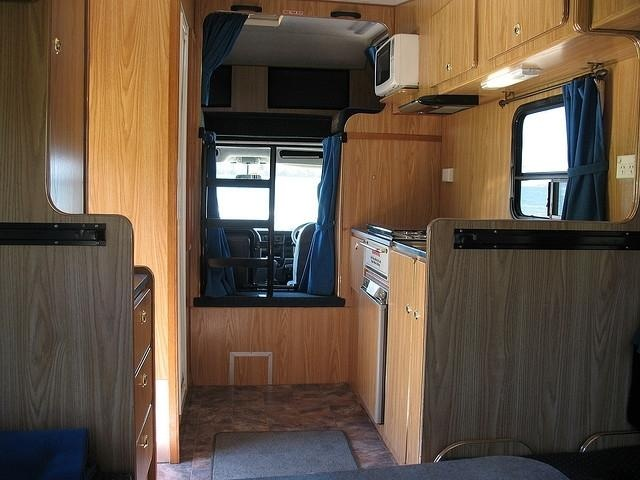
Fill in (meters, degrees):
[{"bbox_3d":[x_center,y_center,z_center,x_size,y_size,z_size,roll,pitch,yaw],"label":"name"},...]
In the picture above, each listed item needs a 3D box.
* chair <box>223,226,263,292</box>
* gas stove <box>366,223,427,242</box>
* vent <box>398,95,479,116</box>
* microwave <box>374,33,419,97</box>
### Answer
[{"bbox_3d":[-0.643,0.172,4.488,0.283,0.533,0.695,0,9,-7],"label":"chair"},{"bbox_3d":[0.512,-0.049,3.449,0.367,0.068,0.728,1,9,-1],"label":"gas stove"},{"bbox_3d":[0.803,-0.926,3.712,0.478,0.079,0.703,1,9,-1],"label":"vent"},{"bbox_3d":[0.530,-1.183,3.697,0.287,0.418,0.550,-1,5,-6],"label":"microwave"}]
